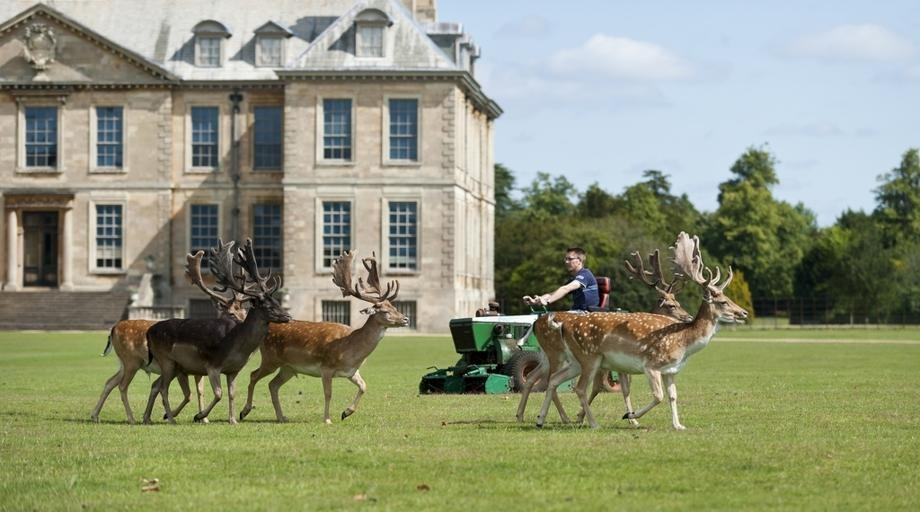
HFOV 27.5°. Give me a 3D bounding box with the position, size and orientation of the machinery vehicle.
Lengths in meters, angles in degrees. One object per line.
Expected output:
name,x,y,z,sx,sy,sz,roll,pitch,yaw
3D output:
machinery vehicle,2.752,4.152,92.468,8.773,4.886,4.829,1,-1,-44
